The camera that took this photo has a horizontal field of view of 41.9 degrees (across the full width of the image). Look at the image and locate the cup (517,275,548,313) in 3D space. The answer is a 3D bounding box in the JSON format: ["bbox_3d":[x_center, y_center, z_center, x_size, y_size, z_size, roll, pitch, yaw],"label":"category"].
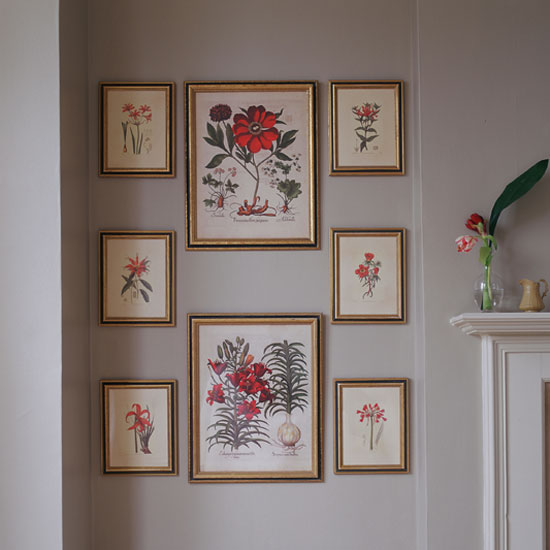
[{"bbox_3d":[0.754,0.060,2.153,0.088,0.129,0.086,0,-10,0],"label":"cup"}]

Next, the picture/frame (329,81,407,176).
[{"bbox_3d":[0.281,-0.453,2.245,0.216,0.352,0.016,0,-4,0],"label":"picture/frame"}]

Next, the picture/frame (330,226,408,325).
[{"bbox_3d":[0.289,0.013,2.226,0.217,0.362,0.015,0,0,0],"label":"picture/frame"}]

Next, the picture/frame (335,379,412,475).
[{"bbox_3d":[0.295,0.460,2.207,0.228,0.355,0.016,-1,24,9],"label":"picture/frame"}]

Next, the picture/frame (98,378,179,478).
[{"bbox_3d":[-0.420,0.468,2.205,0.234,0.359,0.016,0,27,-12],"label":"picture/frame"}]

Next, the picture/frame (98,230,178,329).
[{"bbox_3d":[-0.428,0.013,2.227,0.231,0.354,0.010,-2,35,-15],"label":"picture/frame"}]

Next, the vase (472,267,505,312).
[{"bbox_3d":[0.634,0.053,2.130,0.069,0.112,0.075,1,-2,35],"label":"vase"}]

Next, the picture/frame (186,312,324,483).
[{"bbox_3d":[-0.065,0.374,2.235,0.403,0.626,0.024,1,-46,-3],"label":"picture/frame"}]
